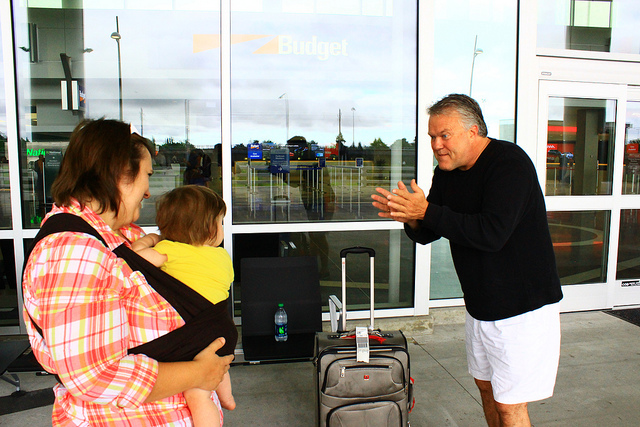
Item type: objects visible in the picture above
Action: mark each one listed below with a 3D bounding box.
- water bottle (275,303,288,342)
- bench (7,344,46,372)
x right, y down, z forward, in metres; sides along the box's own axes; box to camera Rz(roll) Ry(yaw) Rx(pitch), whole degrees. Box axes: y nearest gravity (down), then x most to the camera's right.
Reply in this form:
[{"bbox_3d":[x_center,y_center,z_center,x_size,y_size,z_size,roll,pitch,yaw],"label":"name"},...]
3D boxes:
[{"bbox_3d":[-0.367,1.018,4.739,0.120,0.273,0.321,-3,5,-5],"label":"water bottle"},{"bbox_3d":[-2.369,1.192,4.054,0.239,0.217,0.332,-5,6,-28],"label":"bench"}]
